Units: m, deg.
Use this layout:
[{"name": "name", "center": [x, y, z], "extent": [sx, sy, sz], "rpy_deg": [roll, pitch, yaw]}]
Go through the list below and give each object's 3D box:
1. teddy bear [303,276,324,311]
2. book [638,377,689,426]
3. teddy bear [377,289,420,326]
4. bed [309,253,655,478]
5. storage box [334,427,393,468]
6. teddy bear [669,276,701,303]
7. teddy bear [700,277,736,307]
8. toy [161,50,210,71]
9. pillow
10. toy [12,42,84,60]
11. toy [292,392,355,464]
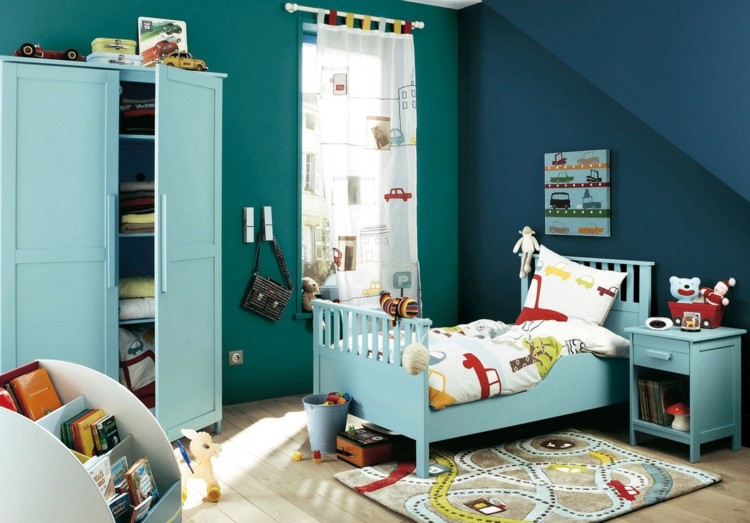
[{"name": "teddy bear", "center": [-0.517, 0.267, 4.416], "extent": [0.253, 0.302, 0.207], "rpy_deg": [-1, 0, -6]}, {"name": "book", "center": [1.854, 0.870, 3.610], "extent": [0.263, 0.356, 0.361], "rpy_deg": [-6, -5, 42]}, {"name": "teddy bear", "center": [0.144, 0.269, 3.310], "extent": [0.186, 0.145, 0.341], "rpy_deg": [-2, 4, -26]}, {"name": "bed", "center": [0.656, 0.463, 3.744], "extent": [1.734, 1.105, 1.370], "rpy_deg": [-1, 1, -32]}, {"name": "storage box", "center": [-0.036, 1.068, 3.253], "extent": [0.229, 0.081, 0.208], "rpy_deg": [-1, 5, -39]}, {"name": "teddy bear", "center": [1.955, 0.188, 3.532], "extent": [0.200, 0.183, 0.157], "rpy_deg": [1, -6, 8]}, {"name": "teddy bear", "center": [2.155, 0.189, 3.464], "extent": [0.182, 0.172, 0.235], "rpy_deg": [7, 11, 33]}, {"name": "toy", "center": [-1.186, -1.245, 3.517], "extent": [0.244, 0.106, 0.140], "rpy_deg": [-5, 10, -28]}, {"name": "pillow", "center": [1.391, 0.218, 3.928], "extent": [0.165, 0.545, 0.548], "rpy_deg": [26, -5, -40]}, {"name": "toy", "center": [-1.878, -1.183, 3.184], "extent": [0.335, 0.104, 0.179], "rpy_deg": [-2, 2, -26]}, {"name": "toy", "center": [-0.295, 0.994, 3.352], "extent": [0.337, 0.303, 0.349], "rpy_deg": [0, -3, 8]}]
